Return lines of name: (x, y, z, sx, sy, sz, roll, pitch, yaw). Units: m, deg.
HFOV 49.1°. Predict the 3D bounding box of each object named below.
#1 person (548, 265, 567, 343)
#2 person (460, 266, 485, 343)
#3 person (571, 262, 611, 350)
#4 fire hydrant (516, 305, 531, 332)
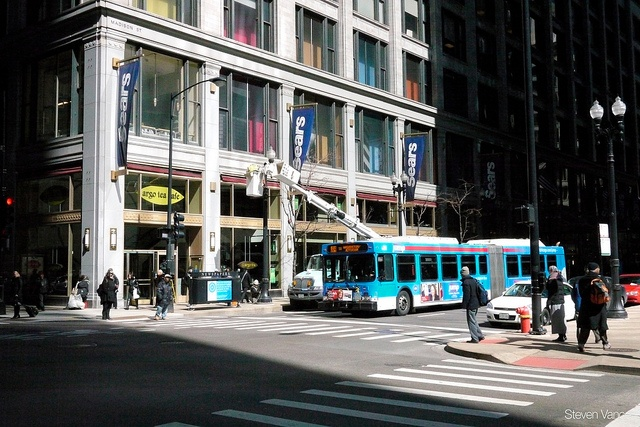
person: (9.242, 3.549, 27.841, 1.315, 3.130, 0.826, 3, -5, -38)
person: (5.940, 3.540, 27.304, 0.929, 2.941, 0.840, 2, -6, -30)
person: (10.094, 3.360, 25.755, 1.443, 3.124, 1.110, 1, -2, -38)
fire hydrant: (8.634, 4.486, 29.523, 0.534, 1.056, 0.767, 0, 4, 14)
